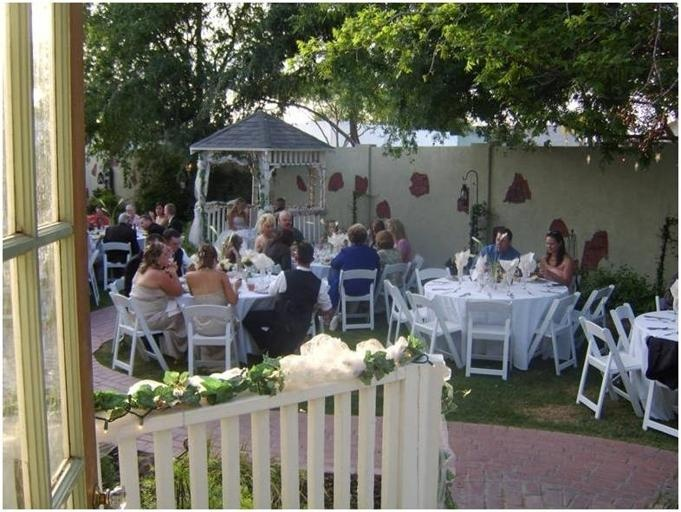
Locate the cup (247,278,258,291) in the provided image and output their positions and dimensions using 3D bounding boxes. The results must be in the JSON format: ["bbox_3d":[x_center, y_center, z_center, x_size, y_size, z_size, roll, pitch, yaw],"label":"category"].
[{"bbox_3d":[-1.095,0.351,8.895,0.100,0.185,0.110,1,-1,0],"label":"cup"}]

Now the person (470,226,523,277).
[{"bbox_3d":[2.283,-0.068,10.673,0.703,1.125,0.553,-1,-8,34],"label":"person"}]

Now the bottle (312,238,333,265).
[{"bbox_3d":[-0.274,-0.068,11.591,0.328,0.421,0.343,-1,3,0],"label":"bottle"}]

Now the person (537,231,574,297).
[{"bbox_3d":[2.791,0.217,9.600,0.435,1.023,0.442,1,11,38],"label":"person"}]

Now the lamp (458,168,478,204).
[{"bbox_3d":[2.494,-1.321,14.129,0.341,0.714,0.248,2,13,10],"label":"lamp"}]
